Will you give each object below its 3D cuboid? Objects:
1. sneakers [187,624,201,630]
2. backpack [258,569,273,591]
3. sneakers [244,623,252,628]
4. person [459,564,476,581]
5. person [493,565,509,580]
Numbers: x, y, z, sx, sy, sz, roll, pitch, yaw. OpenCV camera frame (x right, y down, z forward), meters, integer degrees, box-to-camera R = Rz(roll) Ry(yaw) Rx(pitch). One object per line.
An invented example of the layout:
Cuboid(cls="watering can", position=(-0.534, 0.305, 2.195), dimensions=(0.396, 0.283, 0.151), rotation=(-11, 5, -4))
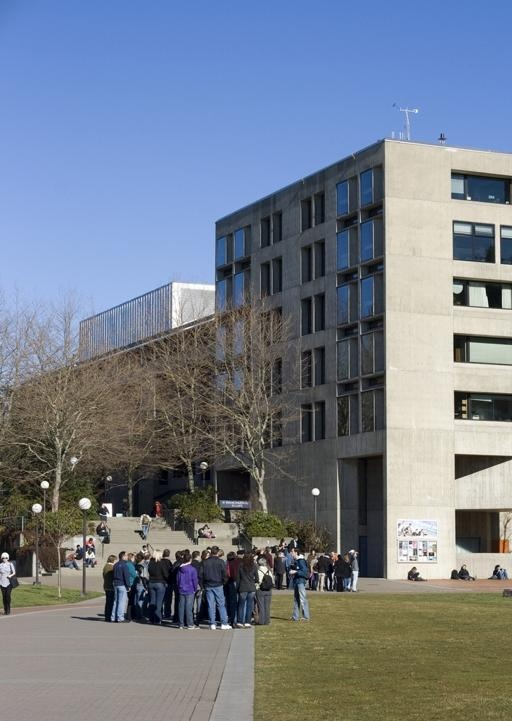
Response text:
Cuboid(cls="sneakers", position=(-1.313, 5.484, 28.321), dimensions=(0.231, 0.136, 0.108), rotation=(1, -1, -2))
Cuboid(cls="backpack", position=(0.177, 4.634, 28.864), dimensions=(0.254, 0.391, 0.654), rotation=(-1, -12, 0))
Cuboid(cls="sneakers", position=(-0.183, 5.447, 28.390), dimensions=(0.146, 0.101, 0.495), rotation=(-1, -13, -1))
Cuboid(cls="person", position=(8.181, 8.333, 54.043), dimensions=(0.450, 0.695, 0.760), rotation=(5, -15, -30))
Cuboid(cls="person", position=(9.700, 8.409, 54.655), dimensions=(0.549, 0.617, 1.164), rotation=(-4, -12, 17))
